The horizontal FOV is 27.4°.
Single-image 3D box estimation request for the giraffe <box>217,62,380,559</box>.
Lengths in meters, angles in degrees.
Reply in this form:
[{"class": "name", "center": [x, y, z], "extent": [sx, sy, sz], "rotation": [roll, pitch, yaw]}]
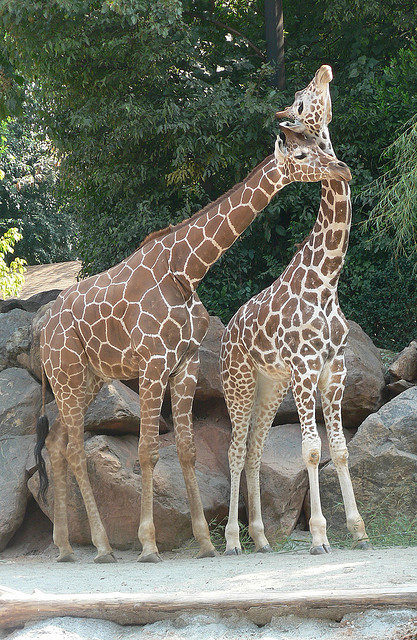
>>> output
[{"class": "giraffe", "center": [0.535, 0.125, 6.086], "extent": [1.087, 3.537, 2.398], "rotation": [-4, 30, 6]}]
